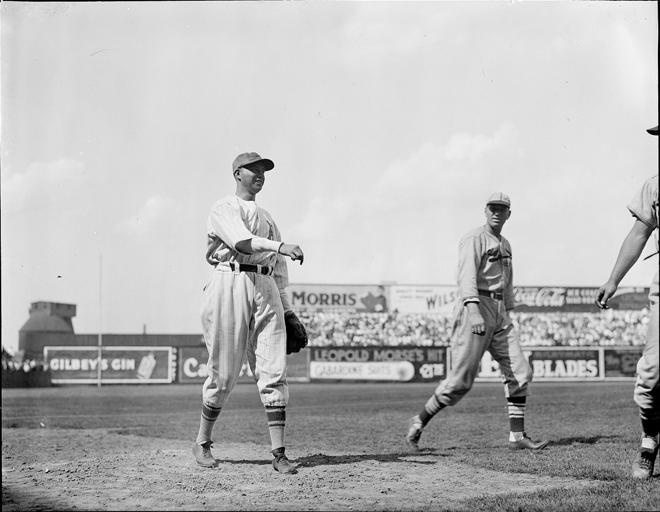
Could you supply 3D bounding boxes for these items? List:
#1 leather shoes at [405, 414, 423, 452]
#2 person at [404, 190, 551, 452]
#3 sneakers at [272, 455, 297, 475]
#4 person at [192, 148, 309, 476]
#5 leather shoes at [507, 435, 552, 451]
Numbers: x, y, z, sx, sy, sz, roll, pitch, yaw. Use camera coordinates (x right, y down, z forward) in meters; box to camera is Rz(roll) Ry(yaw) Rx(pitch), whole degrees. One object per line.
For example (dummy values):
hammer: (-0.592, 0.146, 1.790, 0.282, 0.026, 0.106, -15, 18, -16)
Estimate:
leather shoes: (0.779, 1.661, 14.008, 0.117, 0.160, 0.355, 2, -48, 2)
person: (1.457, 0.598, 13.928, 1.125, 2.278, 0.746, 2, 15, 7)
sneakers: (-0.391, 1.812, 13.000, 0.115, 0.103, 0.232, 3, -6, -40)
person: (-0.717, 0.539, 13.124, 0.978, 2.759, 1.016, -1, 15, -1)
leather shoes: (1.847, 1.735, 13.916, 0.386, 0.174, 0.143, -2, -1, 6)
